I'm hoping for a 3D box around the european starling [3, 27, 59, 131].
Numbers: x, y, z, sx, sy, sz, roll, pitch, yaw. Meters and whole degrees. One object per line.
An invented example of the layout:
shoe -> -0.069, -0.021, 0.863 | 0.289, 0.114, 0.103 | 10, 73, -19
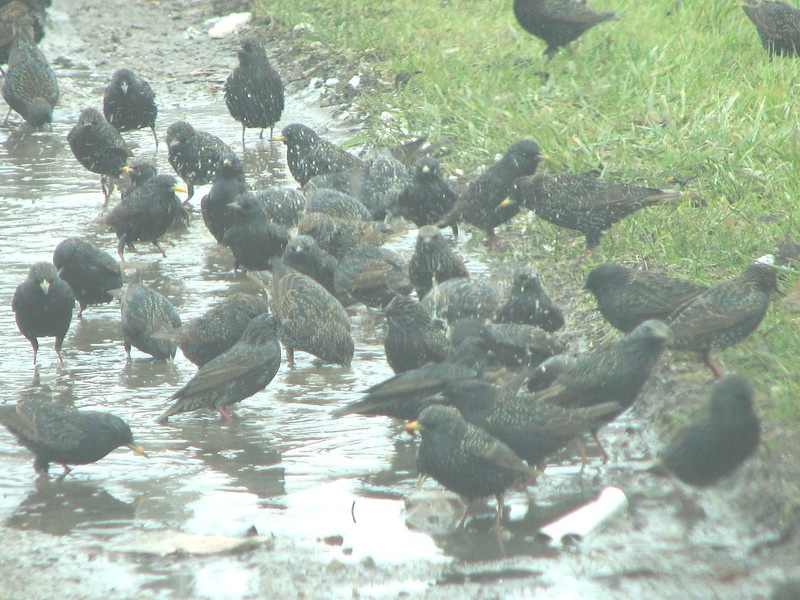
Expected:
european starling -> -4.818, -2.942, 17.890 | 0.604, 0.855, 1.491 | 1, 73, -37
